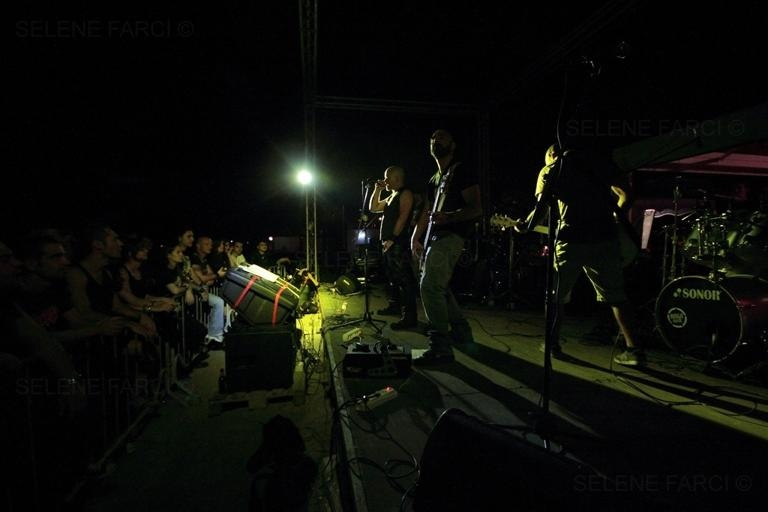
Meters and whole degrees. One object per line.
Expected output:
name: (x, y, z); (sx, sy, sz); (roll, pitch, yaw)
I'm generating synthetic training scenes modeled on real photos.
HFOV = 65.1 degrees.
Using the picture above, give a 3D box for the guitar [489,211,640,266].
guitar: (3.034, -0.340, 9.844); (2.084, 0.562, 1.214); (4, -7, 35)

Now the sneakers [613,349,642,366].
sneakers: (3.697, 1.536, 9.180); (0.170, 0.183, 0.396); (-2, 3, -10)

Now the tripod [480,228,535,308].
tripod: (3.183, 0.272, 14.114); (1.477, 1.570, 1.520); (3, -8, -4)

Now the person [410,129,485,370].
person: (0.965, -0.171, 9.501); (0.969, 3.542, 0.734); (4, 0, -2)
